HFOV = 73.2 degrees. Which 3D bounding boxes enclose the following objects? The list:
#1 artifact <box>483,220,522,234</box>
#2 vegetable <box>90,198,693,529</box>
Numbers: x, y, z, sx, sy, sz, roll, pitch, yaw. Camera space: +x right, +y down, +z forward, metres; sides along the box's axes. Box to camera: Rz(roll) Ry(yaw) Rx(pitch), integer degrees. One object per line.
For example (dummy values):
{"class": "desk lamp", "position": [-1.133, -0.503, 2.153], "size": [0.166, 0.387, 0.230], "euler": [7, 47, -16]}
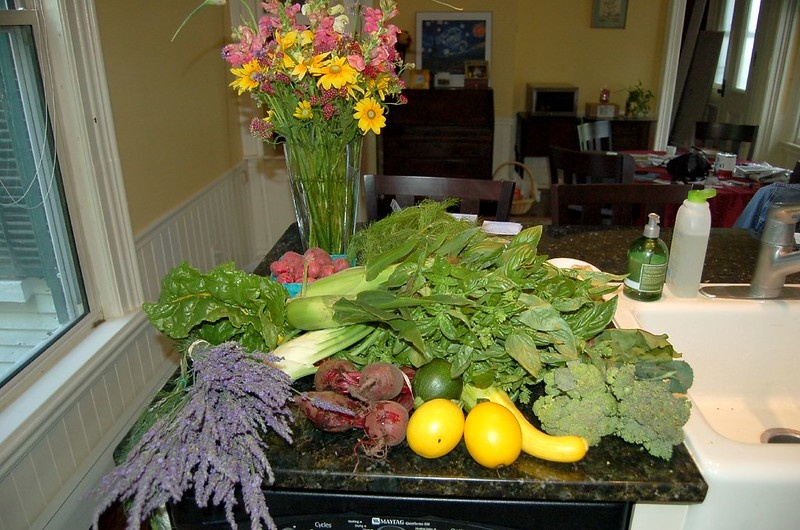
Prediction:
{"class": "artifact", "position": [0.412, -0.148, 2.180], "size": [0.158, 0.035, 0.100], "euler": [4, 29, -2]}
{"class": "vegetable", "position": [0.038, 0.315, 1.383], "size": [1.128, 0.343, 0.843], "euler": [-1, 54, 1]}
